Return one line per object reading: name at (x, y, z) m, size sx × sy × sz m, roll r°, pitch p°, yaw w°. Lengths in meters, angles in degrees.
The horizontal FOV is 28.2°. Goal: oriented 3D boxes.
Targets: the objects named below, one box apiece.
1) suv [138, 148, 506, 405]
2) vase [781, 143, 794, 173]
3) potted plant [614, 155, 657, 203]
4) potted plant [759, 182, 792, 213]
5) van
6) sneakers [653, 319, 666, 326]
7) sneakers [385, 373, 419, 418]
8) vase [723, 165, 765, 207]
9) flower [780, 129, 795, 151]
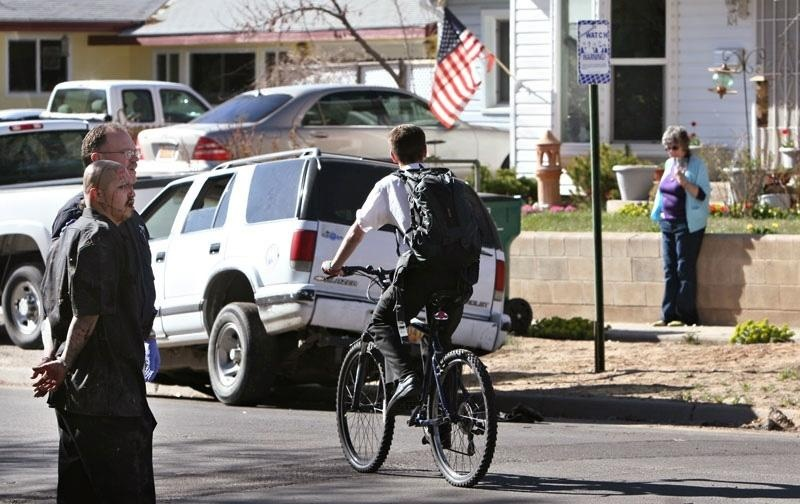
suv at (-1.553, 0.140, 21.399) m, size 2.721 × 2.402 × 5.051 m, roll 0°, pitch 2°, yaw -32°
vase at (7.064, -1.742, 29.025) m, size 0.394 × 0.487 × 0.429 m, roll -1°, pitch -5°, yaw 11°
potted plant at (4.271, -1.330, 29.010) m, size 0.687 × 0.552 × 0.664 m, roll -2°, pitch 3°, yaw -41°
potted plant at (6.486, -0.988, 27.649) m, size 0.506 × 0.485 × 0.524 m, roll 2°, pitch 3°, yaw -28°
van at (-5.699, -3.146, 32.884) m, size 2.466 × 1.315 × 1.451 m, roll -9°, pitch 11°, yaw -42°
sneakers at (4.039, 1.082, 24.843) m, size 0.167 × 0.080 × 0.080 m, roll 5°, pitch 5°, yaw 33°
sneakers at (0.016, 1.732, 18.877) m, size 0.219 × 0.680 × 0.295 m, roll 11°, pitch 42°, yaw -26°
vase at (5.893, -1.203, 27.331) m, size 0.601 × 0.757 × 0.701 m, roll 2°, pitch -1°, yaw 19°
flower at (7.181, -2.124, 29.605) m, size 0.143 × 0.512 × 0.335 m, roll -2°, pitch 8°, yaw -39°
